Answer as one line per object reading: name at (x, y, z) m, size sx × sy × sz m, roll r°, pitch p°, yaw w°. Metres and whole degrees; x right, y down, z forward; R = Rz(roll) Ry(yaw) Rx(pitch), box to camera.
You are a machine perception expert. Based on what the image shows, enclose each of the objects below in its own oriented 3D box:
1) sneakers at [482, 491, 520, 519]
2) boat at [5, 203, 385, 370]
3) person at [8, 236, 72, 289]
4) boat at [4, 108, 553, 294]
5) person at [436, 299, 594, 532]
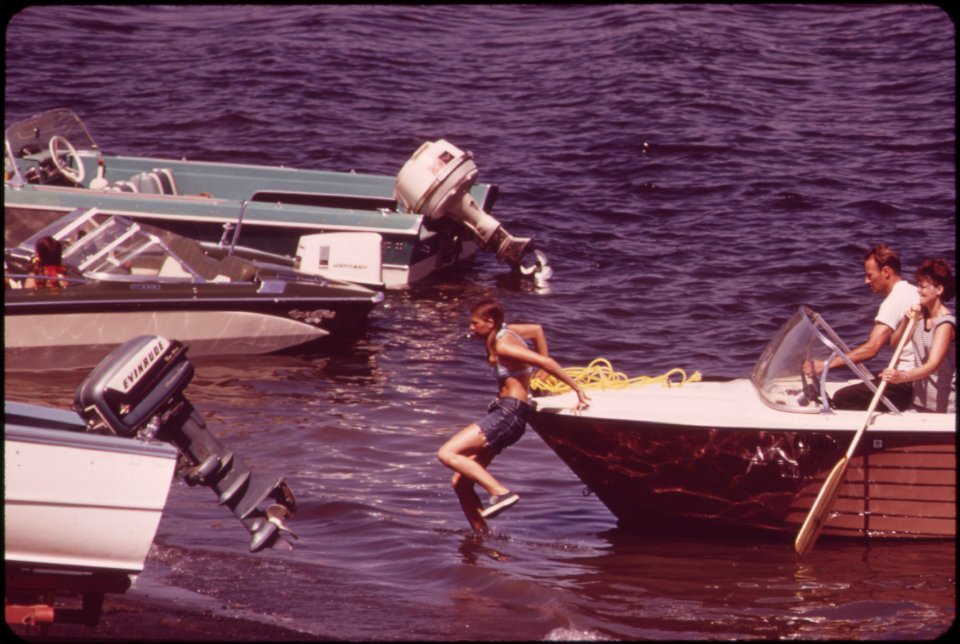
sneakers at (0.256, 2.295, 22.097) m, size 0.632 × 0.208 × 0.225 m, roll -30°, pitch -6°, yaw 25°
boat at (-5.468, -0.589, 26.016) m, size 7.744 × 1.416 × 1.787 m, roll -1°, pitch 28°, yaw -9°
person at (-6.323, -0.868, 25.309) m, size 0.621 × 0.757 × 0.366 m, roll -3°, pitch 15°, yaw -20°
boat at (-3.523, -1.795, 28.990) m, size 12.243 × 1.970 × 2.947 m, roll 4°, pitch 24°, yaw 6°
person at (0.373, 1.217, 22.231) m, size 1.145 × 3.016 × 1.341 m, roll 13°, pitch 19°, yaw 37°
